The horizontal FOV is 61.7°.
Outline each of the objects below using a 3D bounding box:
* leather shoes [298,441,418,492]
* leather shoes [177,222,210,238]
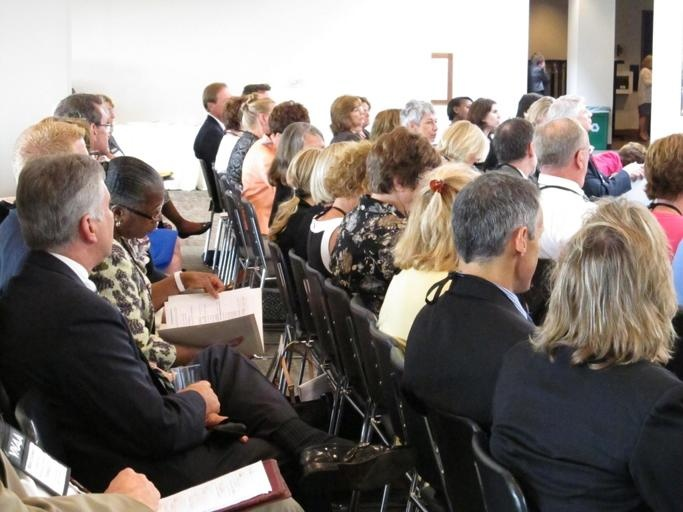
[{"bbox_3d":[0.047,0.616,1.729,0.331,0.115,0.141,-11,26,1],"label":"leather shoes"},{"bbox_3d":[-1.365,-0.247,5.329,0.311,0.130,0.117,-13,22,-4],"label":"leather shoes"}]
